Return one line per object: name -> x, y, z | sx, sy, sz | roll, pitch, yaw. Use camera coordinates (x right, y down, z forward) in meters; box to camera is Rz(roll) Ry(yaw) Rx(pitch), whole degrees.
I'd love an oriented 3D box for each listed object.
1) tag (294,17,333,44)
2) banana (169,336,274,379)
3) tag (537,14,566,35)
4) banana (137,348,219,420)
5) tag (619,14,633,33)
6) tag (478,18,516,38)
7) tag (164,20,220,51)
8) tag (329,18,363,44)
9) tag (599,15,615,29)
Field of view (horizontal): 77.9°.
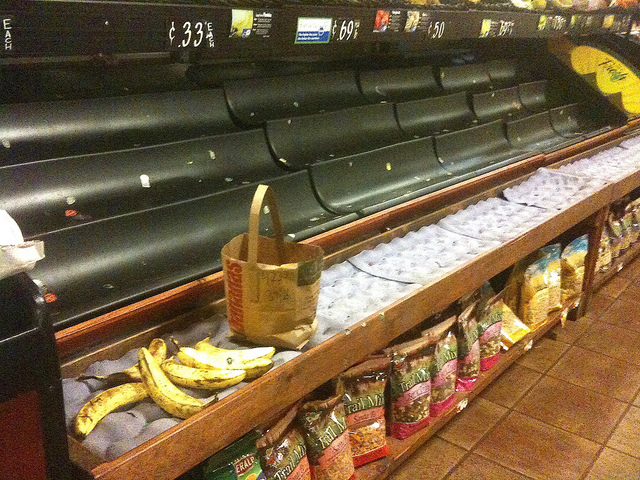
tag -> -0.034, -0.895, 1.680 | 0.164, 0.082, 0.003 | -20, 42, -31
banana -> -0.262, 0.314, 1.101 | 0.341, 0.128, 0.072 | -9, 8, 24
tag -> 1.773, -1.650, 3.025 | 0.051, 0.140, 0.624 | 23, 34, 35
banana -> -0.377, 0.378, 1.010 | 0.310, 0.106, 0.075 | 20, 26, 38
tag -> 3.157, -2.262, 4.111 | 0.149, 0.149, 0.018 | -35, 52, -29
tag -> 1.155, -1.369, 2.547 | 0.040, 0.110, 0.521 | 25, 35, 36
tag -> -0.444, -0.732, 1.394 | 0.281, 0.133, 0.004 | 14, 21, 26
tag -> 0.110, -0.954, 1.795 | 0.183, 0.098, 0.049 | -23, 37, -38
tag -> 2.703, -2.079, 3.754 | 0.160, 0.142, 0.015 | -26, 46, -26
